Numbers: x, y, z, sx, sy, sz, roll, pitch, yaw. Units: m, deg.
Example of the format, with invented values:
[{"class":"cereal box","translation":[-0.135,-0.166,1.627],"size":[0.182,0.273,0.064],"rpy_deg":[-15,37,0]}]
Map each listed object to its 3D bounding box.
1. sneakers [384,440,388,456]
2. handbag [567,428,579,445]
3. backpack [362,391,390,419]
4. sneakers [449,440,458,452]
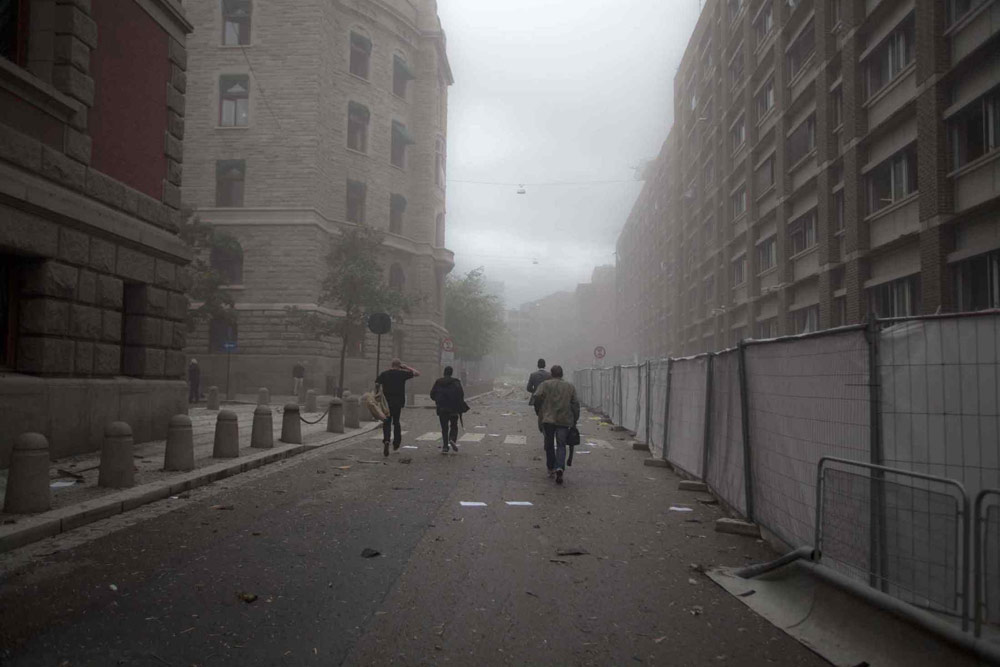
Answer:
[{"class":"sneakers","translation":[-2.506,2.525,16.592],"size":[0.091,0.313,0.117],"rpy_deg":[1,14,-2]},{"class":"handbag","translation":[1.359,1.963,14.416],"size":[0.287,0.434,0.237],"rpy_deg":[1,-11,-3]},{"class":"backpack","translation":[-2.824,1.617,17.106],"size":[0.633,0.632,0.307],"rpy_deg":[3,5,41]},{"class":"sneakers","translation":[-1.071,2.598,17.315],"size":[0.120,0.354,0.133],"rpy_deg":[10,42,22]}]
